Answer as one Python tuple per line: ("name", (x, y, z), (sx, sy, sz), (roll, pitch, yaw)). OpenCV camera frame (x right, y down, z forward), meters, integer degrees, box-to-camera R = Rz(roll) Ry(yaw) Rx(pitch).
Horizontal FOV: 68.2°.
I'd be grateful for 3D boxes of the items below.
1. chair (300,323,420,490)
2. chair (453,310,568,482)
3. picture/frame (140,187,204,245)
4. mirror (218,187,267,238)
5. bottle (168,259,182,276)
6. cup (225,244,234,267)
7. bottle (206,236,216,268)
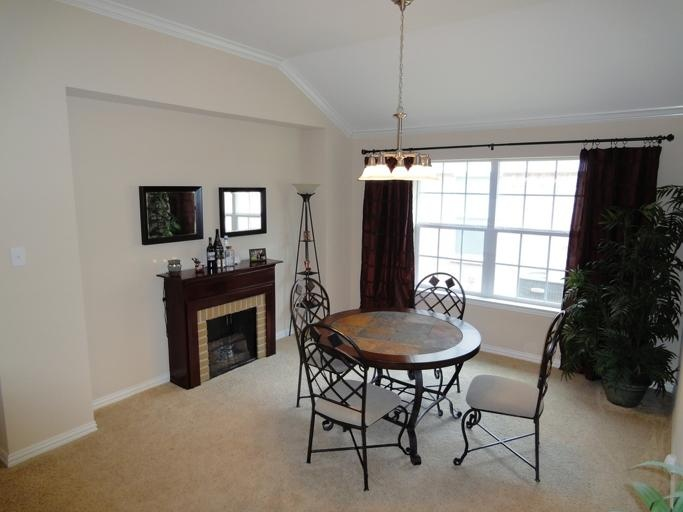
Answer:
("chair", (0.141, 1.132, 4.255), (0.777, 1.440, 0.856), (7, 15, 32))
("chair", (1.416, 1.073, 4.243), (0.732, 1.386, 0.601), (7, 17, 24))
("picture/frame", (-1.728, -0.418, 5.072), (0.037, 0.523, 0.534), (5, 8, 37))
("mirror", (-1.148, -0.512, 5.772), (0.042, 0.515, 0.542), (4, 7, 38))
("bottle", (-1.690, 0.125, 5.086), (0.135, 0.143, 0.118), (0, 2, 16))
("cup", (-1.230, -0.003, 5.574), (0.116, 0.209, 0.199), (-1, 6, -14))
("bottle", (-1.384, -0.031, 5.363), (0.094, 0.322, 0.325), (-1, 7, -16))
